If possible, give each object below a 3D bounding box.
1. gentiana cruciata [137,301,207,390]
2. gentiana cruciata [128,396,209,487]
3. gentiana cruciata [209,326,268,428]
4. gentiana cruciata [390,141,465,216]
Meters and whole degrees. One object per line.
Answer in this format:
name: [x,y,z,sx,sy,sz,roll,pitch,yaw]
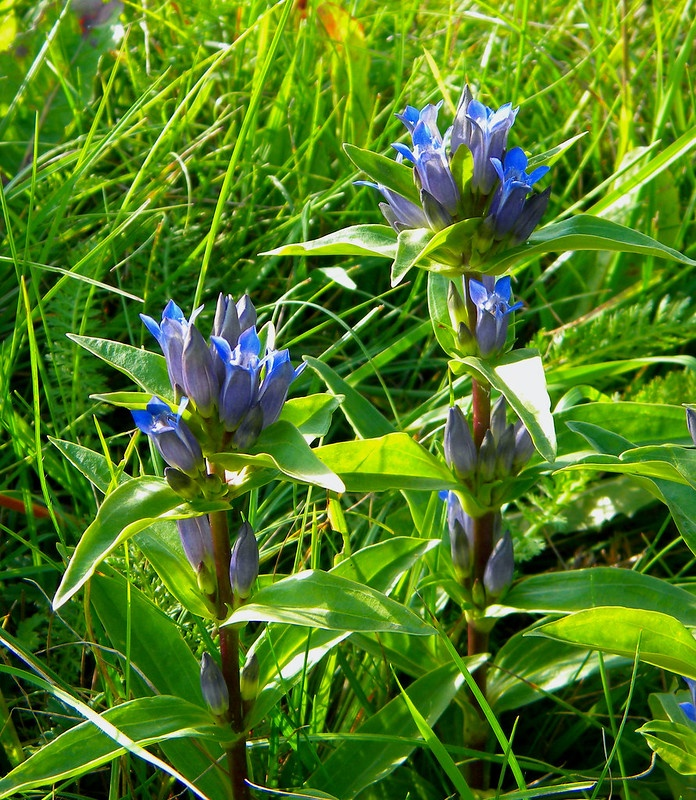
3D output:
gentiana cruciata: [-0.244,-0.071,1.193,0.071,0.136,0.131,-2,33,-17]
gentiana cruciata: [-0.240,0.053,1.162,0.103,0.111,0.069,8,32,-1]
gentiana cruciata: [-0.152,-0.031,1.178,0.069,0.123,0.100,-1,33,-16]
gentiana cruciata: [0.115,-0.334,1.299,0.080,0.093,0.104,-7,35,-25]
